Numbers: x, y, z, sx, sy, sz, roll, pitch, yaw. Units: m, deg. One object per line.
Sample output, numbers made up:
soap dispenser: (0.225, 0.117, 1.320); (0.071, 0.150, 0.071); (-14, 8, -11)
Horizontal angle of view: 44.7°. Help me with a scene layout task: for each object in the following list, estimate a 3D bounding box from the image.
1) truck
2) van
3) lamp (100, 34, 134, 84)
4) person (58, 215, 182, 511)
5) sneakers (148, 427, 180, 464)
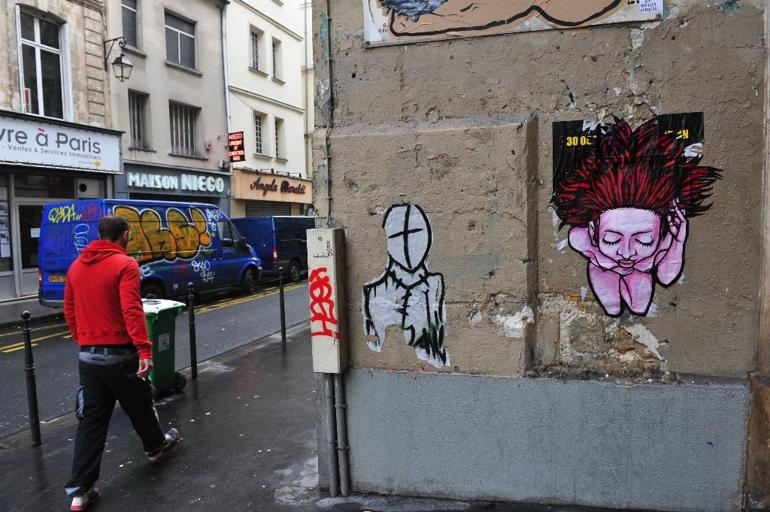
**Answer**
truck: (-5.069, -0.138, 20.439); (2.216, 2.143, 4.650); (-1, 3, 29)
van: (-2.946, -0.359, 25.984); (1.642, 1.577, 3.154); (0, 5, 20)
lamp: (-6.440, -4.835, 22.987); (0.560, 1.034, 1.091); (-1, 2, 12)
person: (-3.410, 1.276, 11.737); (1.178, 3.577, 0.618); (-2, 2, -15)
sneakers: (-2.837, 2.413, 12.191); (0.196, 0.250, 0.539); (2, 32, 23)
